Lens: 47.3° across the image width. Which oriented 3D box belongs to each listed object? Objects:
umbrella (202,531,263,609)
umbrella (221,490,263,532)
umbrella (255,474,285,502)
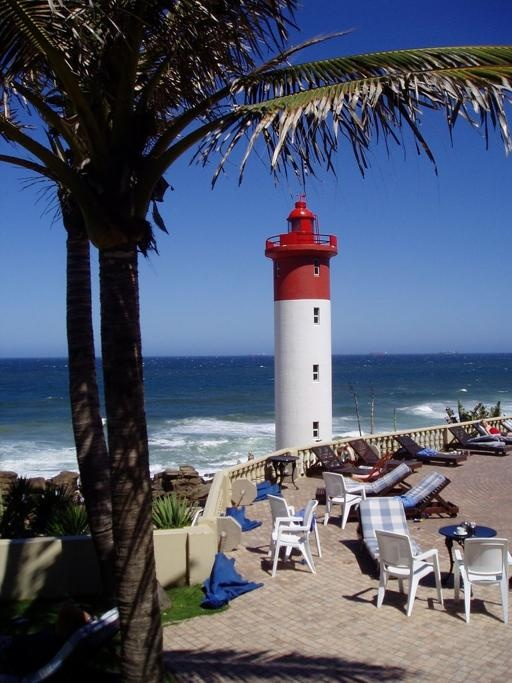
[{"bbox_3d":[-0.405,2.942,7.202,0.659,0.411,1.071,-4,-4,21],"label":"umbrella"},{"bbox_3d":[-0.245,3.164,10.789,0.653,0.403,1.303,-1,-4,-15],"label":"umbrella"},{"bbox_3d":[0.301,3.111,13.041,0.830,0.367,1.043,1,4,0],"label":"umbrella"}]
